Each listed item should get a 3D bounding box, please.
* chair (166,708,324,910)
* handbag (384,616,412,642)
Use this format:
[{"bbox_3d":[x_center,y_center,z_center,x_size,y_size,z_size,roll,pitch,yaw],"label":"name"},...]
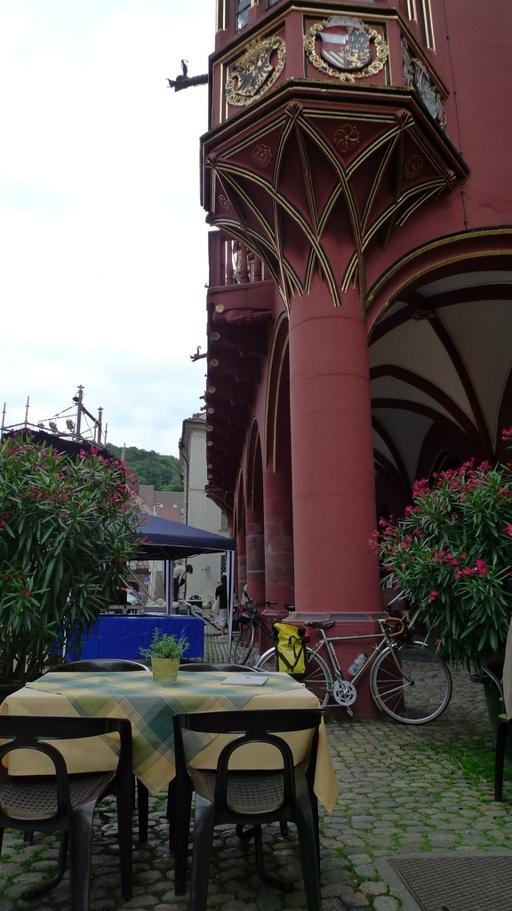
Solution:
[{"bbox_3d":[-0.024,1.237,2.362,0.541,0.784,0.577,1,-5,-7],"label":"chair"},{"bbox_3d":[1.292,1.595,6.170,0.174,0.186,0.041,-12,-22,37],"label":"handbag"}]
